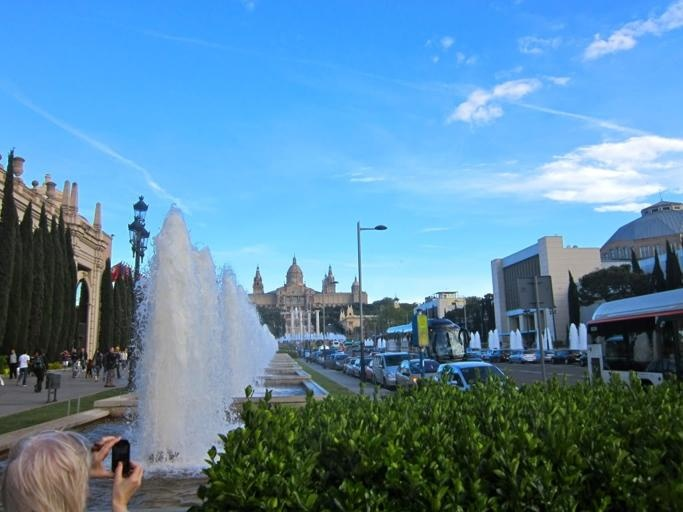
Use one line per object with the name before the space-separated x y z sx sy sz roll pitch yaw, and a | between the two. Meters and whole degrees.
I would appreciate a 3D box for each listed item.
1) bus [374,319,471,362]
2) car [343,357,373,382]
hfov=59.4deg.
bus | 4.776 5.880 43.183 3.114 3.750 12.343 1 -11 -17
car | 1.013 6.750 36.133 0.997 0.822 2.299 2 -15 -16
